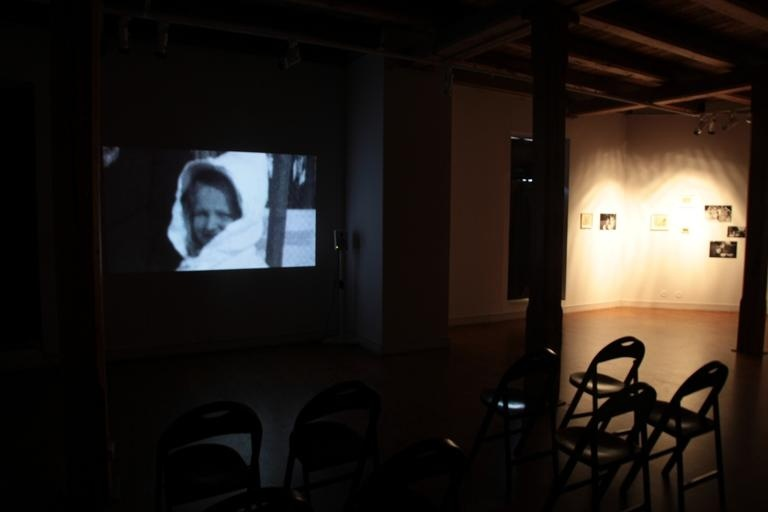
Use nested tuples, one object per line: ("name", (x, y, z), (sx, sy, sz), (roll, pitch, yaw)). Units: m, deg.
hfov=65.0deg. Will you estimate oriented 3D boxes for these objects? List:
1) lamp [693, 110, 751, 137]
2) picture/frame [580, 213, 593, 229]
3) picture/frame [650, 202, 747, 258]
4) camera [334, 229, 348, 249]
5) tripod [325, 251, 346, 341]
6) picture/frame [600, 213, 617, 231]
("lamp", (5.913, -2.385, 10.626), (0.802, 0.237, 0.677), (4, 6, 36))
("picture/frame", (3.650, -0.649, 10.942), (0.281, 0.281, 0.027), (-2, 3, -28))
("picture/frame", (5.801, -0.526, 11.123), (1.452, 1.077, 0.100), (4, 7, 16))
("camera", (-0.637, -0.223, 8.624), (0.190, 0.311, 0.265), (0, 7, -7))
("tripod", (-0.673, 0.453, 8.671), (0.250, 1.509, 0.262), (2, 7, 5))
("picture/frame", (4.153, -0.638, 11.212), (0.338, 0.313, 0.082), (-6, 7, -23))
